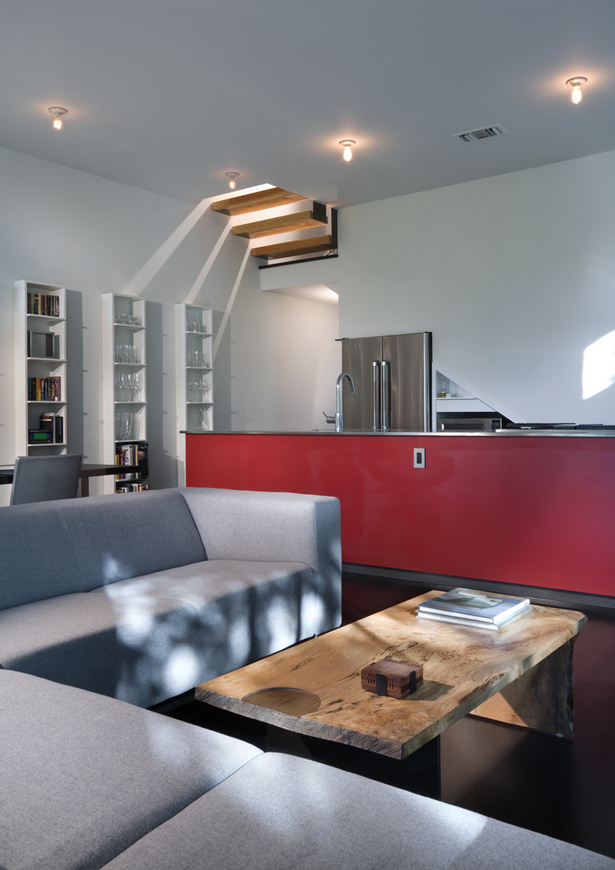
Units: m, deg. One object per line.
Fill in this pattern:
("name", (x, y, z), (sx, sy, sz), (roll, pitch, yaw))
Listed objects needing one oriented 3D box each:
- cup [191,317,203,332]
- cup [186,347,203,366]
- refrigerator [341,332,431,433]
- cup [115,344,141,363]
("cup", (-1.241, -1.237, 7.341), (0.136, 0.106, 0.130), (0, 0, 0))
("cup", (-1.272, -0.875, 7.370), (0.158, 0.191, 0.164), (1, 4, 0))
("refrigerator", (0.860, -0.536, 6.802), (0.956, 1.300, 0.483), (-3, -7, 36))
("cup", (-1.799, -0.806, 6.556), (0.188, 0.191, 0.185), (2, 5, 0))
